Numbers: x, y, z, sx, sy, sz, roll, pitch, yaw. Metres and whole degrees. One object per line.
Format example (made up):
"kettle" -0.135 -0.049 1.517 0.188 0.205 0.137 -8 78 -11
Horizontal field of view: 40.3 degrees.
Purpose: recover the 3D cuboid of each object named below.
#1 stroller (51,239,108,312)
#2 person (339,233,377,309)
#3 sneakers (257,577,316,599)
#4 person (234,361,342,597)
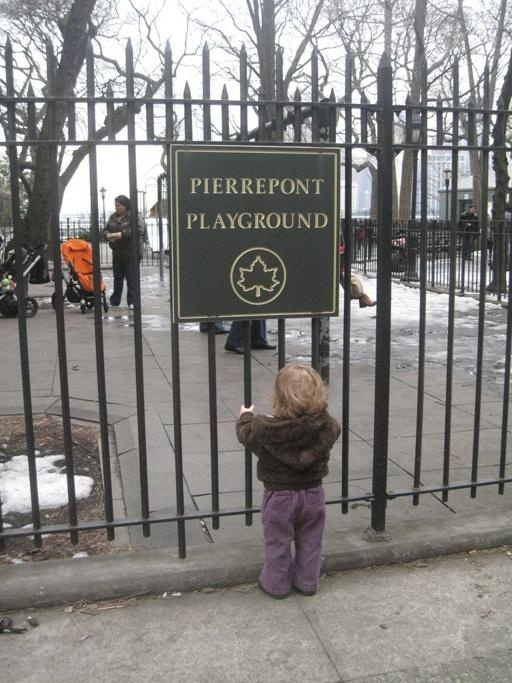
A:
"stroller" -2.949 -1.120 11.803 0.824 1.258 0.592 8 10 40
"person" 1.039 -0.765 7.726 0.468 0.871 0.326 -10 -15 18
"sneakers" 0.123 0.980 2.833 0.213 0.104 0.083 9 -6 -14
"person" 0.137 0.566 2.791 0.413 0.941 0.261 -2 7 2
